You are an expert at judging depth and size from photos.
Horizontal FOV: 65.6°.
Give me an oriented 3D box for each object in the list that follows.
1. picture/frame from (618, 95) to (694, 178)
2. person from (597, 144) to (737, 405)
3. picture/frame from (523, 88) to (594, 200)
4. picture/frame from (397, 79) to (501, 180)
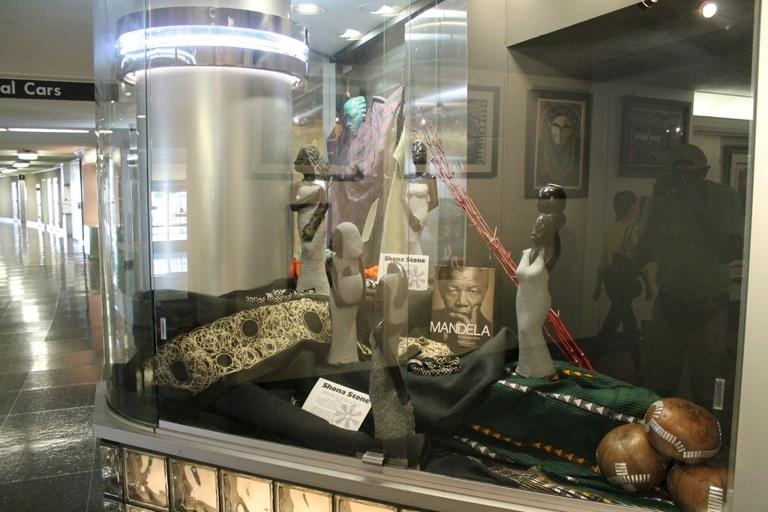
[{"bbox_3d":[0.941,-0.417,2.031,0.278,0.310,0.023,2,6,5],"label":"picture/frame"},{"bbox_3d":[1.041,0.069,2.035,0.333,0.891,0.080,-1,7,4],"label":"person"},{"bbox_3d":[0.602,-0.387,2.049,0.216,0.361,0.067,0,7,10],"label":"picture/frame"},{"bbox_3d":[0.244,-0.439,2.057,0.351,0.340,0.013,0,6,7],"label":"picture/frame"}]
